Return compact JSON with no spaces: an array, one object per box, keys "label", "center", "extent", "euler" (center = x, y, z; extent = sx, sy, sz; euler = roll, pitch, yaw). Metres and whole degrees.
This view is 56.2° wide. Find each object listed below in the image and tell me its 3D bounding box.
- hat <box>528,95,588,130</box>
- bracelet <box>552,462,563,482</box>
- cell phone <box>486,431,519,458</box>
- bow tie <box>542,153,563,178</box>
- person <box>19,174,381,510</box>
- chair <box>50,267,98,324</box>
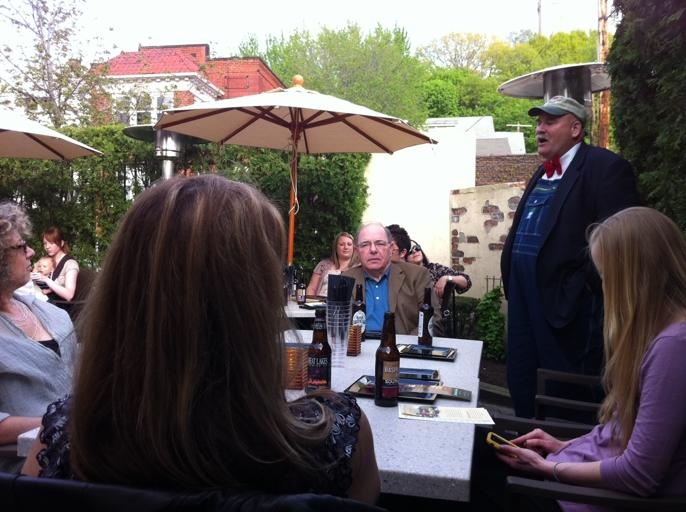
[{"label":"hat","center":[1.432,-0.932,4.087],"extent":[0.335,0.147,0.230],"euler":[8,3,-10]},{"label":"bracelet","center":[0.741,0.751,2.247],"extent":[0.045,0.048,0.046],"euler":[20,-28,-23]},{"label":"cell phone","center":[0.612,0.707,2.442],"extent":[0.084,0.024,0.088],"euler":[29,-6,13]},{"label":"bow tie","center":[1.299,-0.562,4.029],"extent":[0.036,0.119,0.109],"euler":[7,-7,-29]},{"label":"person","center":[-0.361,0.237,1.663],"extent":[0.901,0.891,0.346],"euler":[0,2,3]},{"label":"chair","center":[-1.768,0.240,4.181],"extent":[0.289,0.466,0.332],"euler":[7,2,-28]}]
